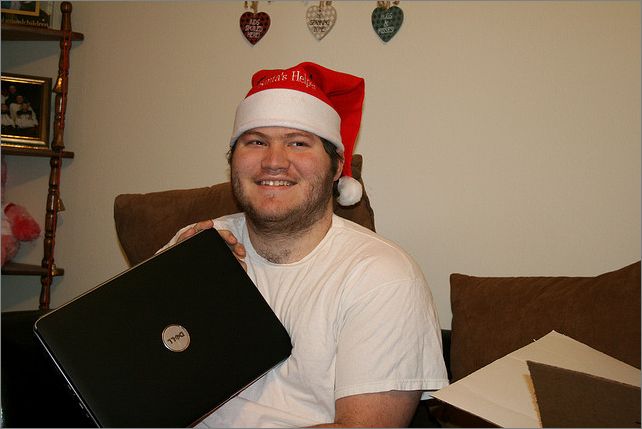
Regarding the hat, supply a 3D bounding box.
[{"bbox_3d":[-0.096,-0.287,2.324,0.598,0.677,0.502,6,-12,-34],"label":"hat"}]
